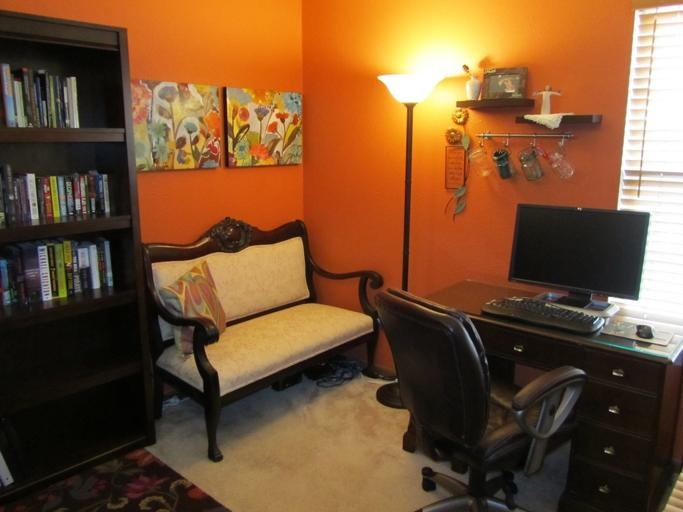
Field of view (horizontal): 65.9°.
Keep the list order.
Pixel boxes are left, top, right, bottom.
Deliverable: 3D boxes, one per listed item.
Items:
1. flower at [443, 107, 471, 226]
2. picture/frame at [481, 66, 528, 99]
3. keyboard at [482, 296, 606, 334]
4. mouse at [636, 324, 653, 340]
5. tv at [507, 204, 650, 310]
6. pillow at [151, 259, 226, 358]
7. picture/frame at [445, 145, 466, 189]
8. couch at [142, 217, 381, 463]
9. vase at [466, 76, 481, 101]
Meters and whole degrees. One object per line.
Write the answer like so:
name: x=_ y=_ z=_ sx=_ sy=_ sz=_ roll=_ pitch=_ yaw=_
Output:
flower: x=0.788 y=-0.629 z=3.576 sx=0.179 sy=0.735 sz=0.111 roll=5 pitch=17 yaw=27
picture/frame: x=1.024 y=-1.081 z=3.263 sx=0.243 sy=0.201 sz=0.033 roll=2 pitch=2 yaw=33
keyboard: x=1.056 y=0.306 z=2.757 sx=0.426 sy=0.063 sz=0.244 roll=7 pitch=12 yaw=39
mouse: x=1.506 y=0.371 z=2.611 sx=0.077 sy=0.045 sz=0.109 roll=5 pitch=17 yaw=28
tv: x=1.315 y=0.009 z=2.952 sx=0.708 sy=0.575 sz=0.187 roll=10 pitch=16 yaw=43
pillow: x=-0.896 y=0.322 z=3.382 sx=0.413 sy=0.466 sz=0.508 roll=-15 pitch=19 yaw=-36
picture/frame: x=0.774 y=-0.609 z=3.589 sx=0.152 sy=0.280 sz=0.008 roll=-5 pitch=10 yaw=-18
couch: x=-0.510 y=0.417 z=3.749 sx=0.835 sy=1.226 sz=1.626 roll=11 pitch=15 yaw=38
vase: x=0.846 y=-1.079 z=3.370 sx=0.096 sy=0.158 sz=0.187 roll=0 pitch=15 yaw=13
